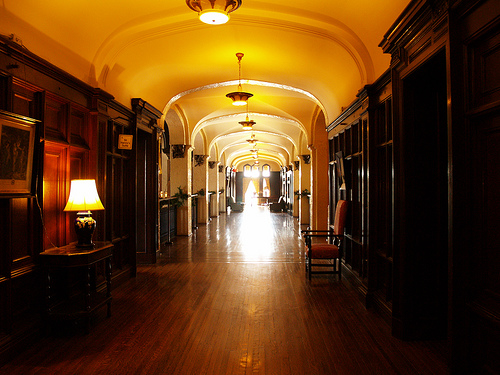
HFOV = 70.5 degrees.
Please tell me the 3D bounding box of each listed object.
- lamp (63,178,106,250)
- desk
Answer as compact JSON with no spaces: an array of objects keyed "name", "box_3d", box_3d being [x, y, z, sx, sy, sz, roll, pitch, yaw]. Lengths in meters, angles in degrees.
[{"name":"lamp","box_3d":[-2.314,0.340,4.905,0.477,0.888,0.632,-2,3,-30]},{"name":"desk","box_3d":[-2.315,1.382,4.881,0.619,1.111,1.120,-2,-2,-2]}]
